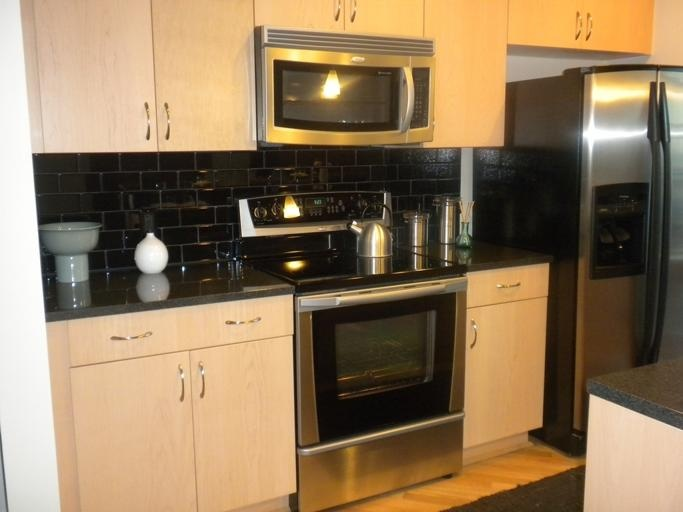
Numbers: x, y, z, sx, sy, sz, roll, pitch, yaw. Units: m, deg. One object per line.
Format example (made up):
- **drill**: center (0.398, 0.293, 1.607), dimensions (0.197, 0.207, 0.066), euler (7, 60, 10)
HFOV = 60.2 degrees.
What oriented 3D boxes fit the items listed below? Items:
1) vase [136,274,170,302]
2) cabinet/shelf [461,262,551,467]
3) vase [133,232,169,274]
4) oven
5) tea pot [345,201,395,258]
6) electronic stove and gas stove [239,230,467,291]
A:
- **vase**: center (-0.799, 0.131, 2.484), dimensions (0.129, 0.093, 0.123), euler (11, 18, 21)
- **cabinet/shelf**: center (0.801, 0.521, 3.243), dimensions (0.450, 1.070, 0.501), euler (-1, 11, -20)
- **vase**: center (-0.880, -0.031, 2.715), dimensions (0.148, 0.225, 0.152), euler (19, 22, 40)
- **oven**: center (0.105, 0.470, 2.892), dimensions (0.870, 0.741, 0.578), euler (-5, 6, -22)
- **tea pot**: center (0.129, -0.138, 3.044), dimensions (0.297, 0.315, 0.197), euler (-1, 9, -10)
- **electronic stove and gas stove**: center (-0.008, 0.028, 2.840), dimensions (0.600, 0.128, 0.428), euler (-5, 11, -29)
